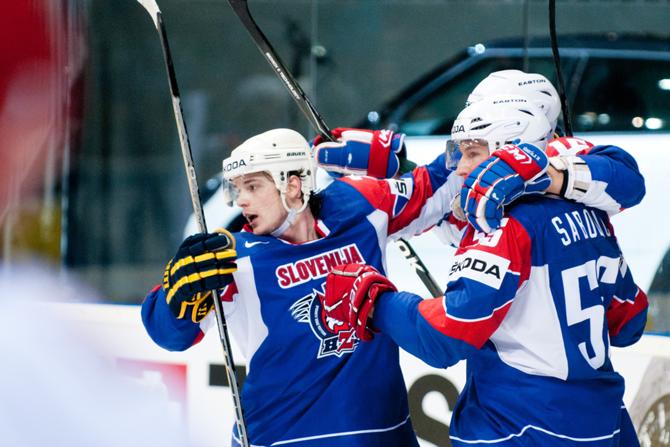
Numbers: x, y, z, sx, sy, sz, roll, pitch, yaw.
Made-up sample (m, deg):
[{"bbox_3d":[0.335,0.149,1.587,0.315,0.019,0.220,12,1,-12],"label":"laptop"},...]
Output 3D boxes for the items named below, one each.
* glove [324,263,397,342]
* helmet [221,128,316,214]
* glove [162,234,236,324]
[{"bbox_3d":[0.125,0.446,7.492,0.435,0.421,0.371,3,-5,33],"label":"glove"},{"bbox_3d":[-0.444,-0.308,7.859,0.545,0.507,0.402,-3,-7,-14],"label":"helmet"},{"bbox_3d":[-0.801,0.320,7.518,0.250,0.377,0.510,9,-44,-43],"label":"glove"}]
